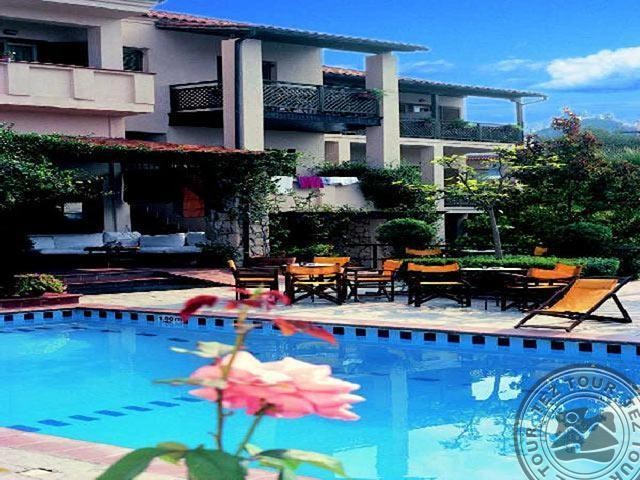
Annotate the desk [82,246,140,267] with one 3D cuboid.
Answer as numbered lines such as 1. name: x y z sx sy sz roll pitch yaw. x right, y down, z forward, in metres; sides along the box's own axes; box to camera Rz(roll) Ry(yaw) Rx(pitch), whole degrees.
1. desk: -6.356 0.524 19.250 1.553 0.648 1.076 -2 4 -8
